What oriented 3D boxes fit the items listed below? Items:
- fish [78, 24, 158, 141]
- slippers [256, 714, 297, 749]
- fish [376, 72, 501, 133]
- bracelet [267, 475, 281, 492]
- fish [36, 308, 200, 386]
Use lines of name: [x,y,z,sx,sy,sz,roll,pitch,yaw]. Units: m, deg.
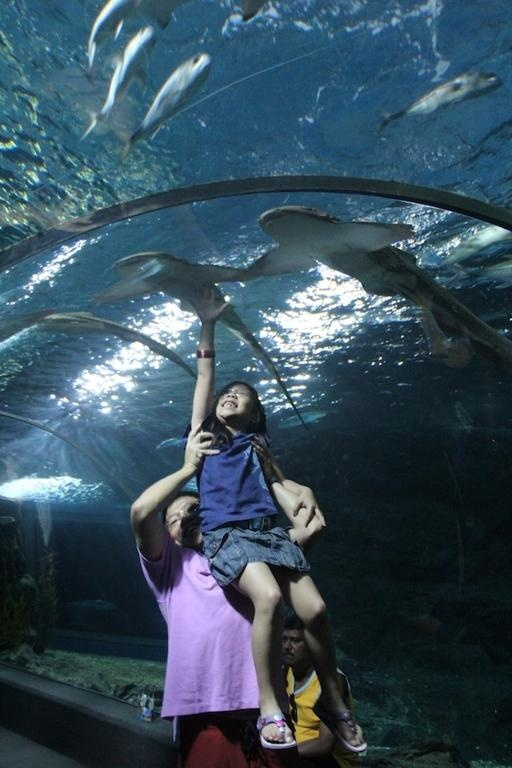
fish: [-0.708,-1.593,2.999,0.079,0.468,0.202,45,15,8]
slippers: [0.094,1.632,2.676,0.144,0.174,0.156,-1,-9,-9]
fish: [0.945,-1.460,3.023,0.558,0.167,0.171,-21,-55,14]
bracelet: [0.111,0.621,3.595,0.069,0.083,0.029,-5,-37,-19]
fish: [-1.121,-0.334,4.845,1.256,0.201,0.250,20,9,-28]
